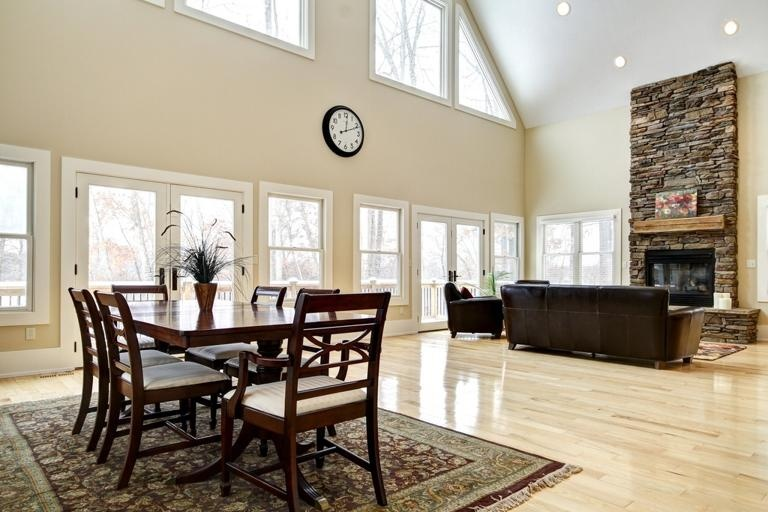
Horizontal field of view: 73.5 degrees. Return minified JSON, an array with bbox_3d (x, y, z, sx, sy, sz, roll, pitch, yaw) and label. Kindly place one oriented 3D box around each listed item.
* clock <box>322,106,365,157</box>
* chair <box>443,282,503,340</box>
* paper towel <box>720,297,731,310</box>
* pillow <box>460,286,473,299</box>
[{"bbox_3d":[-0.701,-2.022,8.428,0.175,0.865,0.924,-10,-10,43],"label":"clock"},{"bbox_3d":[1.542,0.957,9.042,0.919,0.912,0.985,-1,-3,4],"label":"chair"},{"bbox_3d":[5.702,0.812,8.623,0.193,0.214,0.197,-5,-10,39],"label":"paper towel"},{"bbox_3d":[1.426,0.689,8.934,0.153,0.069,0.261,-18,-33,15],"label":"pillow"}]
